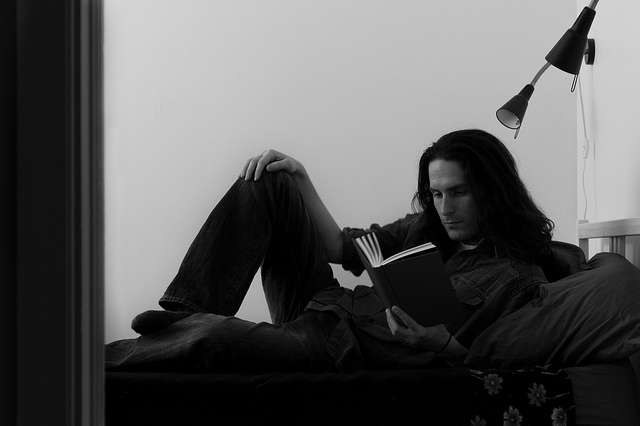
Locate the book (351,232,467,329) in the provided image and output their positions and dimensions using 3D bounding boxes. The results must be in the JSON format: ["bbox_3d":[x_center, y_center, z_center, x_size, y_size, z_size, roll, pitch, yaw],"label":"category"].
[{"bbox_3d":[0.231,0.277,2.001,0.306,0.144,0.384,-40,4,-22],"label":"book"}]

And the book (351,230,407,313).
[{"bbox_3d":[0.192,0.206,2.064,0.171,0.078,0.237,-19,-50,0],"label":"book"}]
